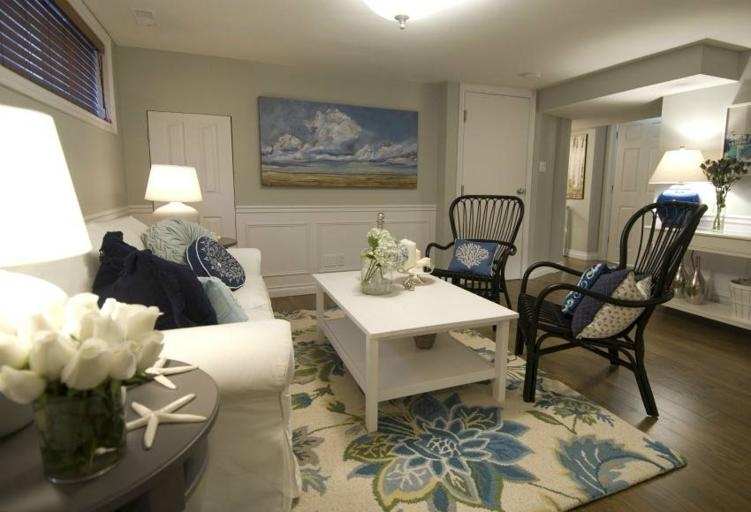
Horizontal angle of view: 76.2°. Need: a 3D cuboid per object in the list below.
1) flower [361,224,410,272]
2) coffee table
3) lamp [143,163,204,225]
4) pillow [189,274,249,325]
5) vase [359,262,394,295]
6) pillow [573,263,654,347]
[{"bbox_3d":[0.070,-0.025,3.335,0.320,0.316,0.259,0,12,3],"label":"flower"},{"bbox_3d":[0.261,0.536,3.112,0.846,0.492,1.309,-6,14,-22],"label":"coffee table"},{"bbox_3d":[-1.711,-0.485,4.138,0.501,0.593,0.494,-1,2,-21],"label":"lamp"},{"bbox_3d":[-0.836,0.231,2.627,0.231,0.262,0.078,-18,-9,-47],"label":"pillow"},{"bbox_3d":[-0.002,0.161,3.313,0.217,0.244,0.224,0,6,-3],"label":"vase"},{"bbox_3d":[1.401,0.307,2.946,0.232,0.437,0.462,29,10,21],"label":"pillow"}]
